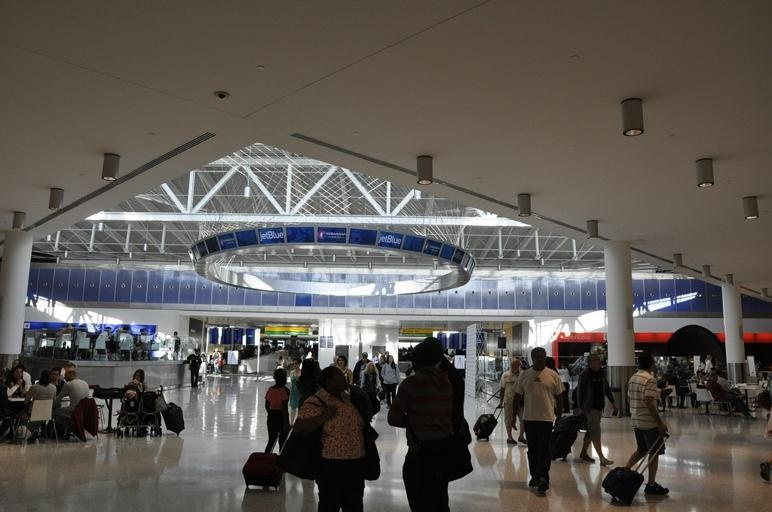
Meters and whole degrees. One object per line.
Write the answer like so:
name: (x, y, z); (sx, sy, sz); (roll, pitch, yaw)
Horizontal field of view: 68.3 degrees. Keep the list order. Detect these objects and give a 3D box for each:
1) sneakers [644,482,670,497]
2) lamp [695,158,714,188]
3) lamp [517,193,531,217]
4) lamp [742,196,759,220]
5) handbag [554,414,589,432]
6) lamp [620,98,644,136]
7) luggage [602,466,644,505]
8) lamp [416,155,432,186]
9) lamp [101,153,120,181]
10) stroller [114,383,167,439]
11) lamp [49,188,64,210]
sneakers: (4.848, 4.094, 9.976); (0.499, 0.207, 0.175); (1, -6, -2)
lamp: (6.986, -1.846, 12.386); (0.307, 0.546, 0.296); (-11, -18, 41)
lamp: (3.724, -1.380, 15.135); (0.380, 0.537, 0.560); (-2, -14, 14)
lamp: (9.403, -1.263, 14.553); (0.329, 0.485, 0.440); (-8, -16, 32)
handbag: (3.861, 3.450, 11.770); (0.661, 0.244, 0.514); (-14, -18, 40)
lamp: (4.593, -2.501, 10.492); (0.382, 0.651, 0.638); (-5, -15, 25)
luggage: (4.017, 3.870, 9.567); (0.499, 0.352, 0.647); (-24, 9, 47)
lamp: (0.927, -1.997, 13.225); (0.368, 0.554, 0.475); (0, -13, 5)
lamp: (-6.270, -1.997, 12.936); (0.365, 0.562, 0.543); (8, -15, -27)
stroller: (-6.564, 4.179, 15.350); (1.160, 1.384, 1.439); (3, -5, -12)
lamp: (-8.641, -1.491, 14.866); (0.316, 0.479, 0.604); (9, -15, -31)
